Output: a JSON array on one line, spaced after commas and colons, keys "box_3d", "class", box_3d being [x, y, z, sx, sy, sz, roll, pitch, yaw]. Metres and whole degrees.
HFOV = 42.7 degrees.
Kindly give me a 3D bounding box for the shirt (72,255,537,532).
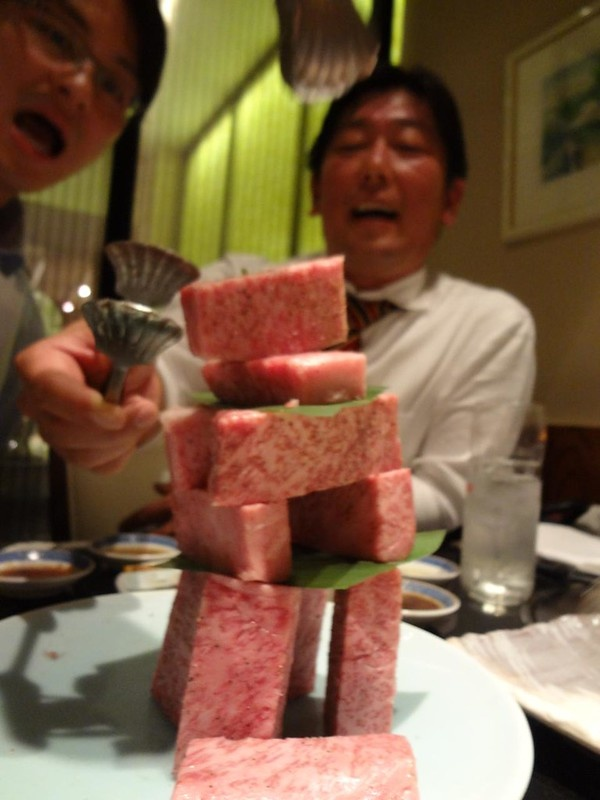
[{"box_3d": [0.383, 0.105, 2.828, 1.368, 0.553, 1.466, 7, 4, 22], "class": "shirt"}]
